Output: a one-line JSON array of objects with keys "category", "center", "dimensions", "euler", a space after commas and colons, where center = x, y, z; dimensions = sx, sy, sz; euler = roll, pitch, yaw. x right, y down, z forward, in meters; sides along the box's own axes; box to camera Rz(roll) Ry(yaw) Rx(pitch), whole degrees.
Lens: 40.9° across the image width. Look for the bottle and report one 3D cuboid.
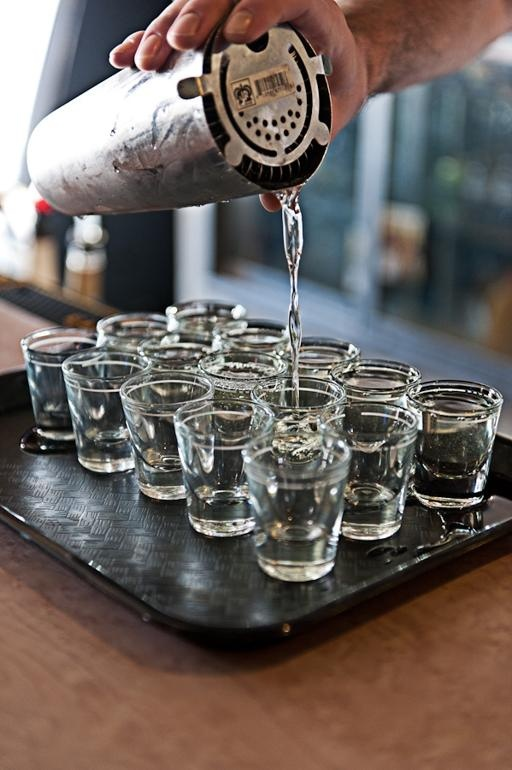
[{"category": "bottle", "center": [-0.098, -0.215, 0.581], "dimensions": [0.314, 0.158, 0.127], "euler": [19, 23, 38]}]
